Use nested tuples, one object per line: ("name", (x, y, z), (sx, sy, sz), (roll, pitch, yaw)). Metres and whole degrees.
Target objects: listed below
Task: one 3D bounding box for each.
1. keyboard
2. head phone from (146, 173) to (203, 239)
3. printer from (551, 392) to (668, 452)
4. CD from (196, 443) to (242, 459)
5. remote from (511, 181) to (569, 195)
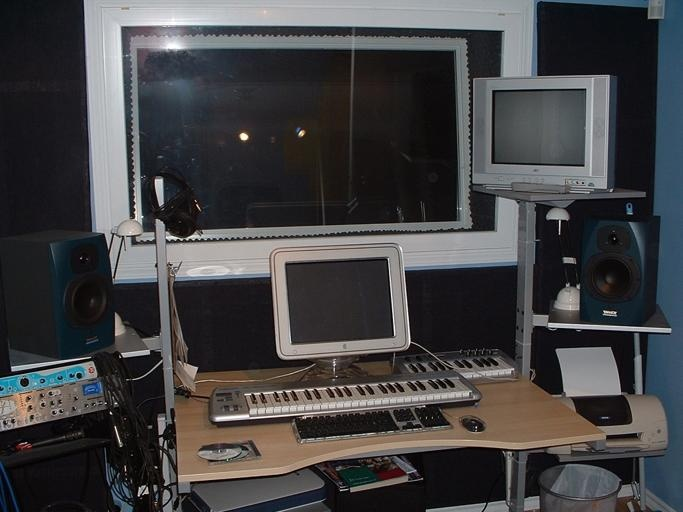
("keyboard", (0.125, 0.701, 2.568), (0.648, 0.069, 0.141), (-6, 11, -8))
("head phone", (-0.757, -0.236, 2.771), (0.199, 0.320, 0.242), (-15, 14, -17))
("printer", (1.464, 0.851, 3.199), (0.460, 0.242, 0.353), (-2, 3, 0))
("CD", (-0.481, 0.774, 2.425), (0.172, 0.021, 0.110), (-4, 11, -1))
("remote", (0.965, -0.332, 2.969), (0.267, 0.054, 0.127), (0, 12, 20))
